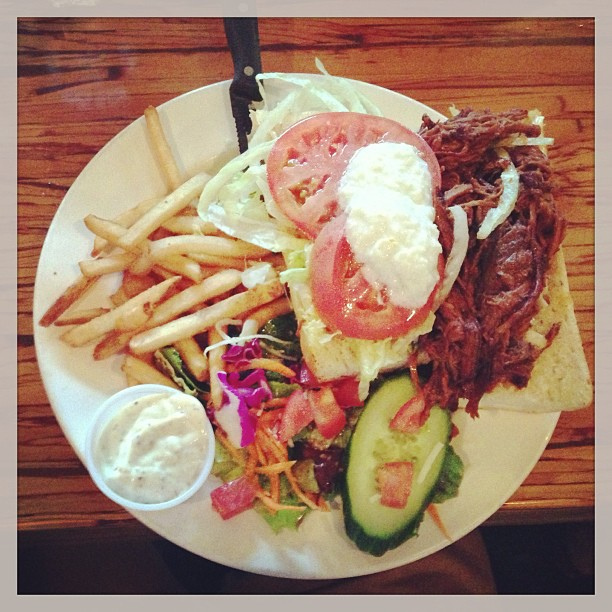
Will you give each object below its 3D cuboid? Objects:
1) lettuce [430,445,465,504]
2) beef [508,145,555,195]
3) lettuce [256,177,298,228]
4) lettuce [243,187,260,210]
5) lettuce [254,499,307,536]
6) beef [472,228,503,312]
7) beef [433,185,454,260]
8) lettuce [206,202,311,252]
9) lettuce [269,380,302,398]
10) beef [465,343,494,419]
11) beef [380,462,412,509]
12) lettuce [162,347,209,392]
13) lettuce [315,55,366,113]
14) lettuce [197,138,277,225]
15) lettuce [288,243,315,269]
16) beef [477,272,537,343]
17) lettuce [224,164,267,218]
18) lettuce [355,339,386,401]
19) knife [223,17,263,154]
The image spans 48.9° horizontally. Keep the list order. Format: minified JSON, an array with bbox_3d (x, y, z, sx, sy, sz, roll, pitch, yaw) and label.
[{"bbox_3d":[0.503,0.581,2.368,0.053,0.170,0.207,14,2,39],"label":"lettuce"},{"bbox_3d":[0.734,-0.450,2.182,0.156,0.163,0.045,-3,-19,-4],"label":"beef"},{"bbox_3d":[-0.095,-0.337,2.267,0.040,0.116,0.164,-8,29,48],"label":"lettuce"},{"bbox_3d":[-0.189,-0.370,2.299,0.031,0.058,0.058,9,-8,-42],"label":"lettuce"},{"bbox_3d":[-0.093,0.725,2.320,0.187,0.131,0.042,-9,7,0],"label":"lettuce"},{"bbox_3d":[0.535,-0.117,2.130,0.178,0.223,0.088,-3,34,1],"label":"beef"},{"bbox_3d":[0.427,-0.264,2.099,0.079,0.206,0.033,-9,2,-15],"label":"beef"},{"bbox_3d":[-0.165,-0.256,2.273,0.248,0.042,0.206,8,20,-30],"label":"lettuce"},{"bbox_3d":[-0.069,0.287,2.310,0.093,0.025,0.053,1,5,12],"label":"lettuce"},{"bbox_3d":[0.536,0.232,2.180,0.077,0.242,0.068,8,33,6],"label":"beef"},{"bbox_3d":[0.301,0.602,2.270,0.100,0.133,0.120,1,43,10],"label":"beef"},{"bbox_3d":[-0.425,0.219,2.361,0.220,0.110,0.215,-7,17,-13],"label":"lettuce"},{"bbox_3d":[0.090,-0.781,2.371,0.320,0.169,0.227,-3,29,0],"label":"lettuce"},{"bbox_3d":[-0.254,-0.419,2.324,0.356,0.057,0.235,-35,59,-11],"label":"lettuce"},{"bbox_3d":[0.000,-0.161,2.206,0.041,0.075,0.098,11,-16,-41],"label":"lettuce"},{"bbox_3d":[0.611,0.009,2.192,0.223,0.197,0.173,2,30,6],"label":"beef"},{"bbox_3d":[-0.208,-0.400,2.313,0.129,0.164,0.198,18,29,36],"label":"lettuce"},{"bbox_3d":[0.210,0.212,2.186,0.098,0.234,0.133,-1,45,10],"label":"lettuce"},{"bbox_3d":[-0.209,-0.777,2.316,0.090,0.405,0.036,-7,34,2],"label":"knife"}]
